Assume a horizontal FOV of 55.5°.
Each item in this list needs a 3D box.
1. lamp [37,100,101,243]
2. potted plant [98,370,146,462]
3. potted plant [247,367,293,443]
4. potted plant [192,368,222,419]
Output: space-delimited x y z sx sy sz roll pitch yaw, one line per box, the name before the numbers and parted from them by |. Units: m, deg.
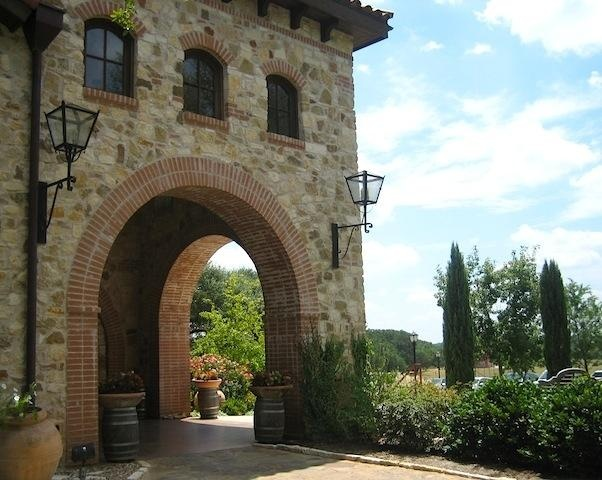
lamp | -3.546 -0.973 8.644 0.733 1.988 0.964 6 -15 -26
potted plant | -3.005 2.916 9.425 0.800 1.378 0.840 -5 -15 -11
potted plant | -0.670 3.232 11.279 1.039 1.360 1.101 2 -9 0
potted plant | -2.488 4.228 15.304 0.808 1.009 0.765 4 -10 -42
